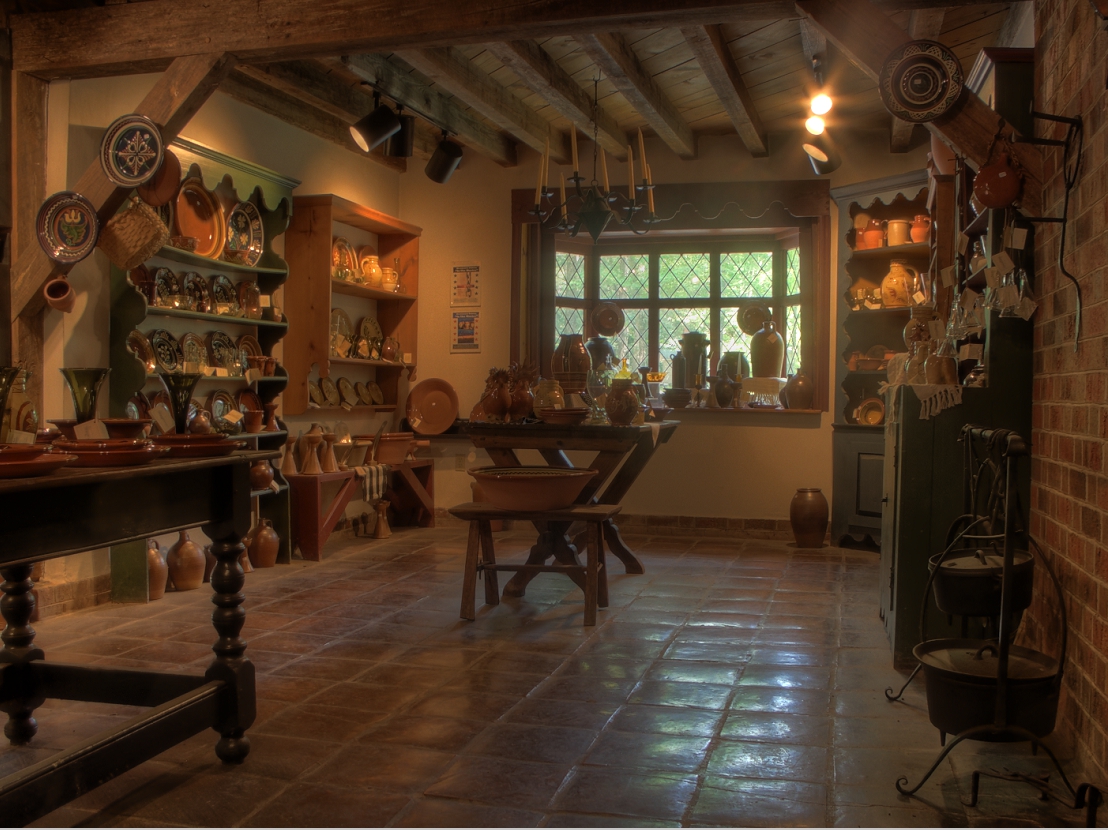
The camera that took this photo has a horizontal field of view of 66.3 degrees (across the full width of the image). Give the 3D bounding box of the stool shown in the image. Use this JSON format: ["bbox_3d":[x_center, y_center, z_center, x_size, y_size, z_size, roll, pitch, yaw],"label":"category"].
[{"bbox_3d":[-0.089,1.059,5.004,1.055,0.758,0.610,0,-3,13],"label":"stool"}]

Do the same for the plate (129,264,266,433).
[{"bbox_3d":[-2.386,-0.630,5.796,0.323,0.803,1.267,2,3,22],"label":"plate"}]

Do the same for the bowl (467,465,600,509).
[{"bbox_3d":[-0.158,0.414,4.958,0.661,0.224,0.722,0,3,0],"label":"bowl"}]

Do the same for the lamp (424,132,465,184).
[{"bbox_3d":[-0.894,-2.116,6.902,0.235,0.411,0.222,2,4,30],"label":"lamp"}]

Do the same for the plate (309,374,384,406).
[{"bbox_3d":[-1.843,-0.205,7.431,0.061,0.232,0.641,-10,-6,17],"label":"plate"}]

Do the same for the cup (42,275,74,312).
[{"bbox_3d":[-2.815,-0.683,4.776,0.123,0.112,0.169,34,-20,-3],"label":"cup"}]

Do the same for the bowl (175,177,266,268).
[{"bbox_3d":[-2.380,-1.352,5.963,0.120,0.520,0.557,-4,37,26],"label":"bowl"}]

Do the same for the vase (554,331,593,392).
[{"bbox_3d":[0.126,-0.363,5.878,0.352,0.535,0.333,0,-6,1],"label":"vase"}]

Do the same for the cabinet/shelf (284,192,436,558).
[{"bbox_3d":[-1.689,-0.364,7.205,0.809,2.798,1.991,1,3,10],"label":"cabinet/shelf"}]

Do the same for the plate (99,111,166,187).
[{"bbox_3d":[-2.321,-1.439,4.635,0.366,0.388,0.089,4,8,8],"label":"plate"}]

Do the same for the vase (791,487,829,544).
[{"bbox_3d":[2.128,0.849,7.097,0.303,0.473,0.331,1,3,14],"label":"vase"}]

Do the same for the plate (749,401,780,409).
[{"bbox_3d":[1.923,-0.092,7.634,0.295,0.073,0.252,0,3,-1],"label":"plate"}]

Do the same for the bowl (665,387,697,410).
[{"bbox_3d":[1.124,-0.150,7.688,0.186,0.134,0.193,3,-1,0],"label":"bowl"}]

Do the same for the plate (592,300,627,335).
[{"bbox_3d":[0.531,-0.947,8.366,0.312,0.345,0.218,0,3,1],"label":"plate"}]

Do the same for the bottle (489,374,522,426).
[{"bbox_3d":[-0.373,-0.111,6.023,0.224,0.321,0.294,1,8,2],"label":"bottle"}]

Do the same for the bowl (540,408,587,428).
[{"bbox_3d":[0.061,0.000,5.678,0.325,0.112,0.181,0,3,-6],"label":"bowl"}]
